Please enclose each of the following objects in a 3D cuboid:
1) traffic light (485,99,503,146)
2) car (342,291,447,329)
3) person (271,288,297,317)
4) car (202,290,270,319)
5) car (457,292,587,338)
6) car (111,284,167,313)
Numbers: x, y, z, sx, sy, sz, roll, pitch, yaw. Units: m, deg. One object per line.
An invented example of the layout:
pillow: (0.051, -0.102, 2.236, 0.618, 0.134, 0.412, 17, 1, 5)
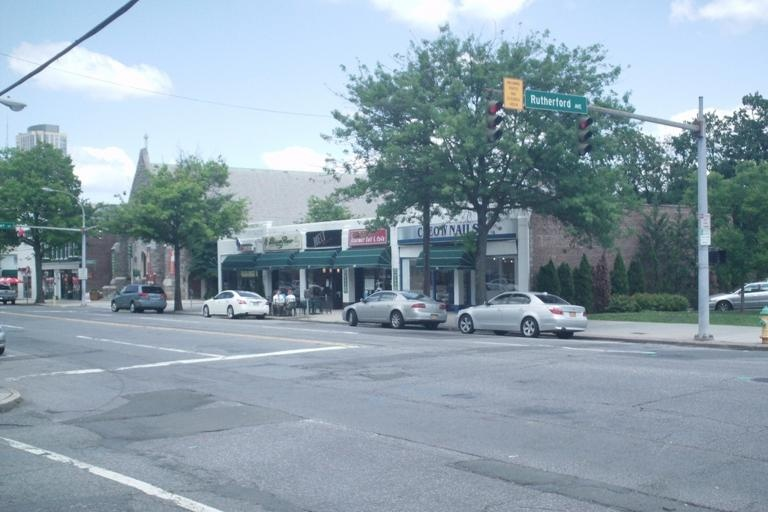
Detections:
traffic light: (3.178, -3.816, 22.751, 0.437, 1.100, 1.121, -2, 5, 7)
car: (0.519, 2.337, 34.724, 3.559, 1.032, 1.787, 1, -2, 45)
person: (-5.412, 2.649, 43.792, 1.270, 1.254, 1.075, -3, 5, -9)
car: (-8.041, 2.623, 43.290, 3.597, 1.423, 1.462, 1, 6, 38)
car: (5.163, 2.185, 29.887, 1.804, 1.327, 4.236, 4, -2, -44)
car: (-15.281, 2.682, 50.338, 3.458, 1.760, 1.778, 2, 6, 41)
